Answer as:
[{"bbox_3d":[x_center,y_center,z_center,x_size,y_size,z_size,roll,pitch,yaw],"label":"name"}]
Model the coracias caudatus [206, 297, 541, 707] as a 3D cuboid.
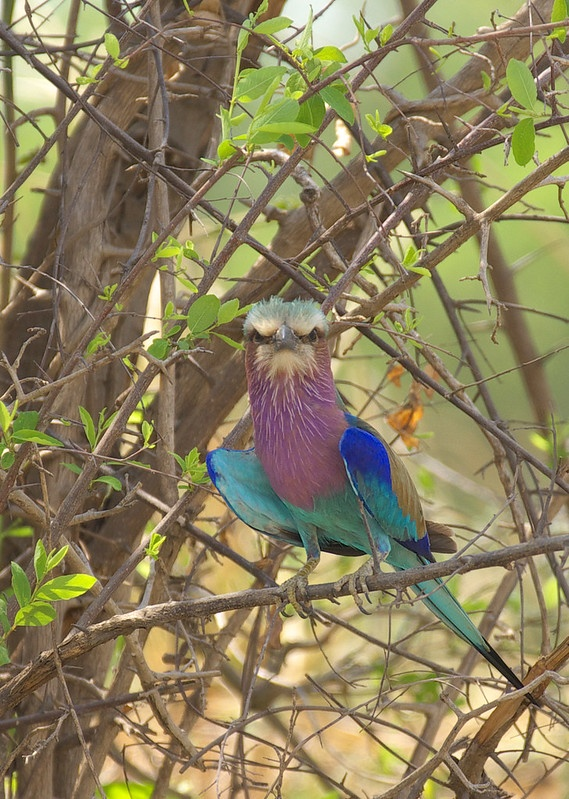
[{"bbox_3d":[0.145,0.316,2.994,0.738,0.953,1.085,-22,-55,28],"label":"coracias caudatus"}]
